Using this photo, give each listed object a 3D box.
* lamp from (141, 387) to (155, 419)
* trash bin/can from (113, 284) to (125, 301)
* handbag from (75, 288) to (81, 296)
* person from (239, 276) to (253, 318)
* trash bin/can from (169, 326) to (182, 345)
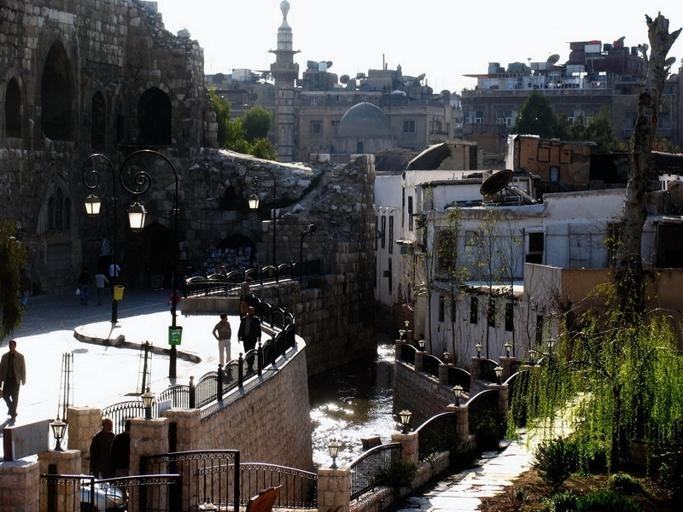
[{"bbox_3d":[-4.265,3.184,29.283,0.257,0.596,1.258,-2,3,-8],"label":"lamp"},{"bbox_3d":[-7.146,1.160,42.371,0.364,0.479,0.368,5,45,-3],"label":"trash bin/can"},{"bbox_3d":[-9.421,1.261,47.275,0.139,0.138,0.277,-1,-27,-10],"label":"handbag"},{"bbox_3d":[-2.960,1.269,40.763,0.383,1.539,0.671,-5,21,-14],"label":"person"},{"bbox_3d":[-4.292,2.045,34.096,0.433,0.629,0.395,2,-11,-6],"label":"trash bin/can"}]
